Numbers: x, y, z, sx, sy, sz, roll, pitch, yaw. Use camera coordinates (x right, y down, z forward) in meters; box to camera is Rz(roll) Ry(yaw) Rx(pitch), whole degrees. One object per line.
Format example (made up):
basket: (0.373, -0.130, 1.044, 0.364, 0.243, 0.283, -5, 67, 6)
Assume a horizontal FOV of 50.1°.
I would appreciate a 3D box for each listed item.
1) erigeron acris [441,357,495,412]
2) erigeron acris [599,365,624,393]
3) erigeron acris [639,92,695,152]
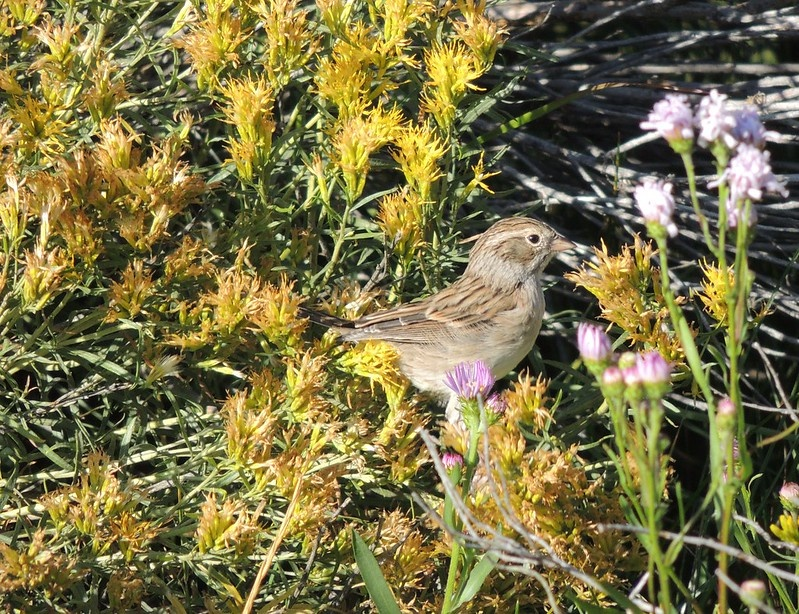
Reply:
erigeron acris: (0.166, 0.178, 2.038, 0.100, 0.098, 0.046, -20, 10, -7)
erigeron acris: (0.440, 0.152, 1.755, 0.046, 0.067, 0.049, -1, 14, 12)
erigeron acris: (0.623, -0.420, 1.956, 0.105, 0.181, 0.092, 6, 30, 36)
